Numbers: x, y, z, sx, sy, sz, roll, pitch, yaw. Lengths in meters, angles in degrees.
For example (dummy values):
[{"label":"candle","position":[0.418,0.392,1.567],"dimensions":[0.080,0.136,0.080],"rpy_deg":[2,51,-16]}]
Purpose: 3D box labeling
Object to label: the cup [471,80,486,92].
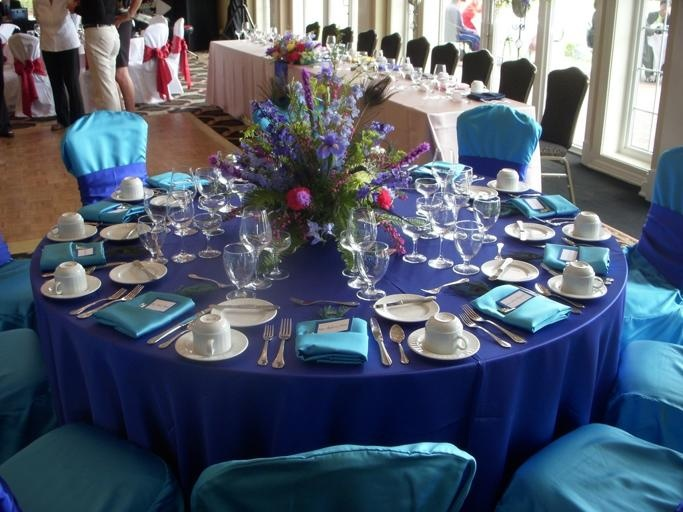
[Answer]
[{"label":"cup","position":[1.264,-1.555,4.593],"dimensions":[0.113,0.152,0.205],"rpy_deg":[2,24,5]}]
